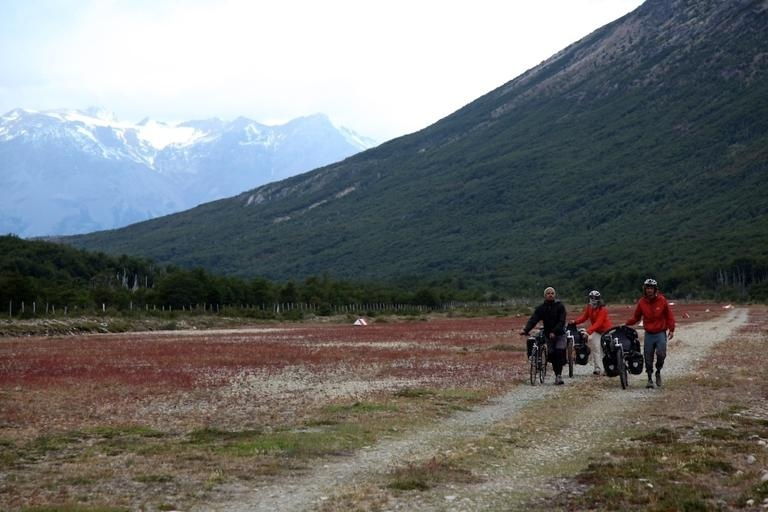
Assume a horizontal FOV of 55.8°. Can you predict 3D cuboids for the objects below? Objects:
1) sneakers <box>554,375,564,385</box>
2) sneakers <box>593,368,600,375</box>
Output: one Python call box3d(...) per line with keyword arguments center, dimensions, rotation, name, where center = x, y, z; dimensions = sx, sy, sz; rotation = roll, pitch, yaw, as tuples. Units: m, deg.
box3d(center=(6.901, 4.851, 28.474), dimensions=(0.234, 0.222, 0.511), rotation=(-2, -9, -1), name="sneakers")
box3d(center=(8.635, 4.648, 29.331), dimensions=(0.290, 0.188, 0.332), rotation=(-2, 0, 24), name="sneakers")
